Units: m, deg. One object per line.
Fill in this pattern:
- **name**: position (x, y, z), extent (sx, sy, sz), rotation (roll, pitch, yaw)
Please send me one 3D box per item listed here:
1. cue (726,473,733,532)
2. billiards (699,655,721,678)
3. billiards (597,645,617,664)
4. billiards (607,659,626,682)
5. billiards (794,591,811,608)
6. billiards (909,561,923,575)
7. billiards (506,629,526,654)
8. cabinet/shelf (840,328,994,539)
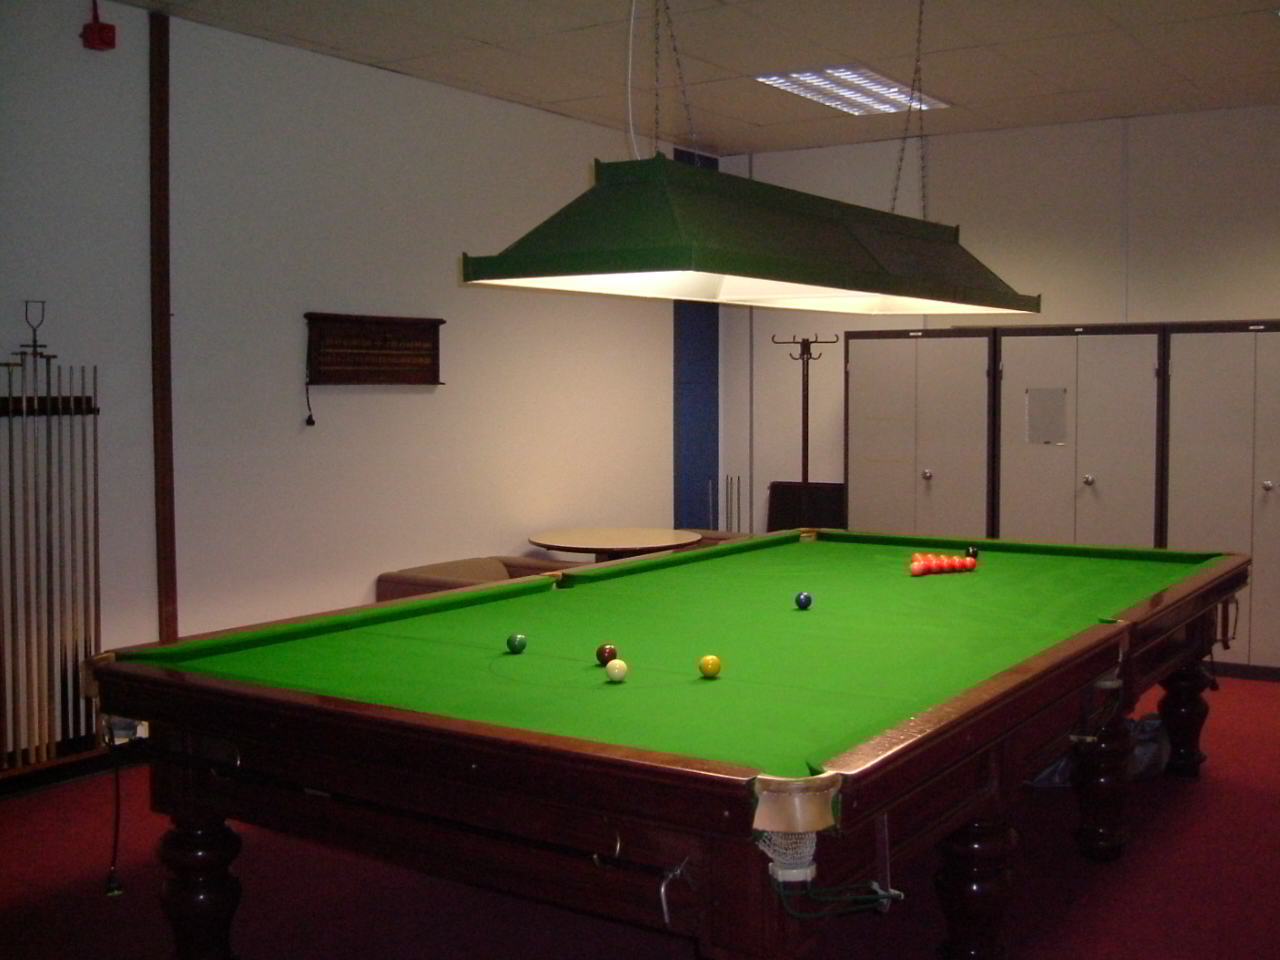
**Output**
- **cue**: position (0.684, 0.173, 8.943), extent (0.047, 0.400, 0.082), rotation (1, 8, 4)
- **billiards**: position (0.198, 0.512, 3.262), extent (0.052, 0.065, 0.056), rotation (6, 10, 12)
- **billiards**: position (-0.096, 0.493, 3.357), extent (0.046, 0.051, 0.049), rotation (7, 10, 22)
- **billiards**: position (-0.069, 0.517, 3.229), extent (0.049, 0.059, 0.049), rotation (-15, 14, -24)
- **billiards**: position (0.565, 0.418, 4.083), extent (0.044, 0.053, 0.049), rotation (5, 7, 43)
- **billiards**: position (1.107, 0.353, 4.706), extent (0.044, 0.044, 0.044), rotation (13, 56, 34)
- **billiards**: position (-0.370, 0.489, 3.520), extent (0.052, 0.058, 0.051), rotation (5, 2, 43)
- **cabinet/shelf**: position (1.830, -0.308, 7.760), extent (0.929, 1.288, 0.247), rotation (3, 8, 15)
